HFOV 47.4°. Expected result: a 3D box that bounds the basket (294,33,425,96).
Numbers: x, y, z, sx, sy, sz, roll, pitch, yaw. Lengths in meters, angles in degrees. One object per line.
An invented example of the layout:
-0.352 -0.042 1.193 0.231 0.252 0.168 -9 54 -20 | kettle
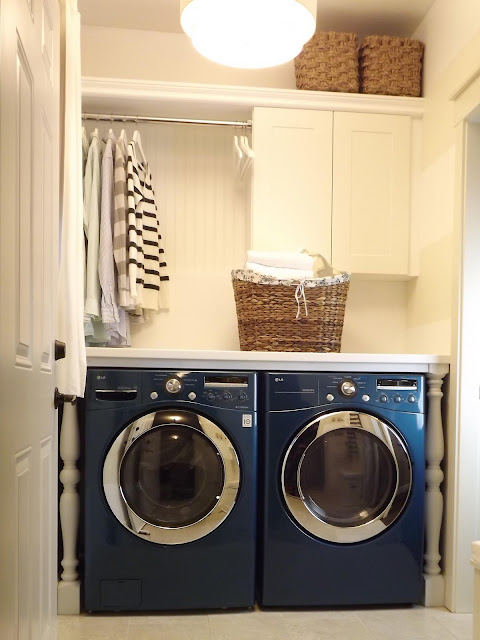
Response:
0.548 -1.145 2.453 0.426 0.204 0.311 3 0 -1 | basket

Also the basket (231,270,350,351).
0.207 -0.022 2.151 0.418 0.337 0.305 0 -5 -3 | basket

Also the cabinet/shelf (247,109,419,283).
0.398 -0.552 2.434 0.647 0.732 0.248 2 3 -5 | cabinet/shelf

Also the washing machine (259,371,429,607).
0.382 0.614 2.280 0.678 1.155 0.731 0 -8 -3 | washing machine

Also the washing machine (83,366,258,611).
-0.207 0.586 2.207 0.698 1.157 0.723 0 -10 -4 | washing machine
